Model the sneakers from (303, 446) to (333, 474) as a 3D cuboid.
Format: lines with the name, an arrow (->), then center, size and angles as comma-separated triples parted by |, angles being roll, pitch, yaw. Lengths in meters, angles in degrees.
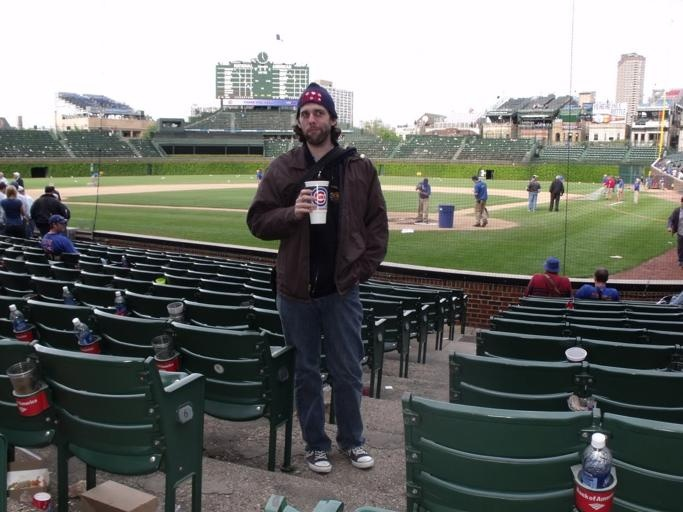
sneakers -> -0.152, 1.305, 4.292 | 0.171, 0.134, 0.185 | -1, 12, -2

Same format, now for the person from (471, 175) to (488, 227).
person -> 4.055, -1.614, 19.318 | 0.429, 1.471, 2.124 | 2, 12, 12

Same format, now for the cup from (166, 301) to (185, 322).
cup -> -1.259, 0.422, 5.035 | 0.122, 0.128, 0.115 | 3, 19, -1

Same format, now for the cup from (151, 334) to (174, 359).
cup -> -1.137, 0.570, 4.243 | 0.134, 0.126, 0.153 | -9, 15, -37

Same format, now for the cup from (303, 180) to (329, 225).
cup -> -0.153, -0.330, 4.136 | 0.132, 0.266, 0.084 | -2, 12, -6

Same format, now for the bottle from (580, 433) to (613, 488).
bottle -> 1.118, 0.869, 2.906 | 0.132, 0.235, 0.154 | 5, 13, 26

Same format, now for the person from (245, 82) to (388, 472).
person -> -0.142, 0.117, 4.350 | 0.878, 2.432, 0.753 | 0, 12, 2

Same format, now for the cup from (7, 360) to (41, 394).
cup -> -1.680, 0.630, 3.551 | 0.165, 0.170, 0.160 | 0, 16, 0

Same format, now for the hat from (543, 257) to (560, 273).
hat -> 2.775, 0.131, 8.763 | 0.251, 0.157, 0.297 | -6, 22, 2

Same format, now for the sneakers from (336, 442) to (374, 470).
sneakers -> 0.102, 1.289, 4.376 | 0.205, 0.106, 0.300 | -3, 12, -12

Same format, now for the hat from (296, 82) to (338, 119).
hat -> -0.157, -1.018, 4.411 | 0.214, 0.195, 0.262 | 0, 2, 6

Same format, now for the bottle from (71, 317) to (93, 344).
bottle -> -1.697, 0.490, 4.355 | 0.108, 0.213, 0.205 | -5, 13, -21
